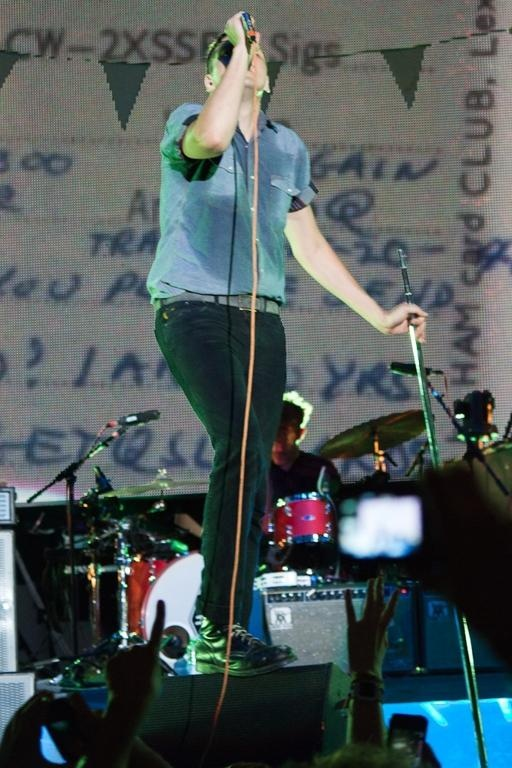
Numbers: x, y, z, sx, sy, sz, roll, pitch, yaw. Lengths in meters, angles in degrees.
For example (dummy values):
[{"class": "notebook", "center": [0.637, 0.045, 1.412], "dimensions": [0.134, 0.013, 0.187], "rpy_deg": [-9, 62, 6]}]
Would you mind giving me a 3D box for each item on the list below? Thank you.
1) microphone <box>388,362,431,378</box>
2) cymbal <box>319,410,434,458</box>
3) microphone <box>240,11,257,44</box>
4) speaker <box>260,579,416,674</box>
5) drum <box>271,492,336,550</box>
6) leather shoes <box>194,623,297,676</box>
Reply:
[{"class": "microphone", "center": [0.545, -0.056, 3.951], "dimensions": [0.159, 0.038, 0.073], "rpy_deg": [5, -14, -16]}, {"class": "cymbal", "center": [0.466, 0.202, 4.500], "dimensions": [0.302, 0.059, 0.274], "rpy_deg": [-12, -13, 26]}, {"class": "microphone", "center": [-0.017, -0.827, 2.620], "dimensions": [0.030, 0.086, 0.023], "rpy_deg": [-5, 13, 10]}, {"class": "speaker", "center": [0.234, 0.715, 3.362], "dimensions": [0.529, 0.284, 0.264], "rpy_deg": [-2, 1, -14]}, {"class": "drum", "center": [0.181, 0.520, 4.291], "dimensions": [0.238, 0.158, 0.235], "rpy_deg": [-3, -13, -1]}, {"class": "leather shoes", "center": [-0.031, 0.604, 2.622], "dimensions": [0.288, 0.115, 0.101], "rpy_deg": [-8, 3, 38]}]
